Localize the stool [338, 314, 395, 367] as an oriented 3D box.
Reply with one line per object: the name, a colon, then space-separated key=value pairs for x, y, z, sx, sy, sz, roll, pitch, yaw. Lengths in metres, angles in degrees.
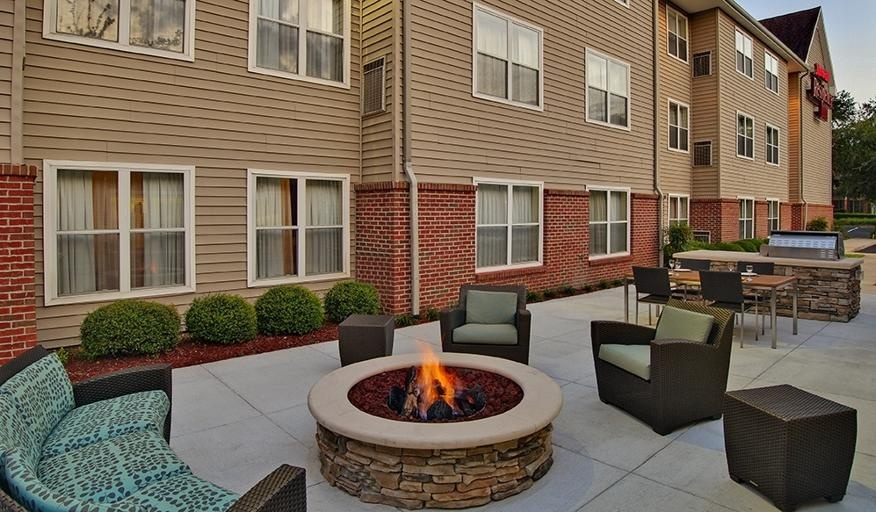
stool: x=-1.300 y=1.413 z=9.878 sx=0.901 sy=0.839 sz=0.870 roll=0 pitch=-1 yaw=-14

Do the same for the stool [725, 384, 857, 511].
stool: x=4.557 y=2.375 z=7.595 sx=1.540 sy=1.490 sz=1.507 roll=-1 pitch=1 yaw=-24

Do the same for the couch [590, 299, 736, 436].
couch: x=3.583 y=1.691 z=9.023 sx=2.187 sy=1.684 sz=2.232 roll=0 pitch=6 yaw=19

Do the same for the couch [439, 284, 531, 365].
couch: x=0.942 y=1.342 z=10.628 sx=1.542 sy=1.523 sz=1.458 roll=0 pitch=2 yaw=9
